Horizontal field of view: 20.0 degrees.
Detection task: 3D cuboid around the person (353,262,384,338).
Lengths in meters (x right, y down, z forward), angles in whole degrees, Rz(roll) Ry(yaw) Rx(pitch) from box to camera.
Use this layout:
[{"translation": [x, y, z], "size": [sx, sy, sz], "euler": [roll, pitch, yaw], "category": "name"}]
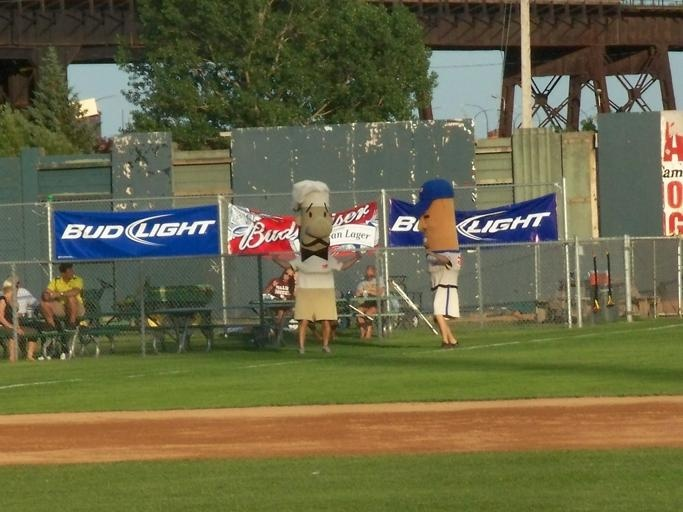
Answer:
[{"translation": [0.862, 1.487, 62.857], "size": [0.818, 2.386, 0.720], "euler": [4, 1, 26], "category": "person"}]
